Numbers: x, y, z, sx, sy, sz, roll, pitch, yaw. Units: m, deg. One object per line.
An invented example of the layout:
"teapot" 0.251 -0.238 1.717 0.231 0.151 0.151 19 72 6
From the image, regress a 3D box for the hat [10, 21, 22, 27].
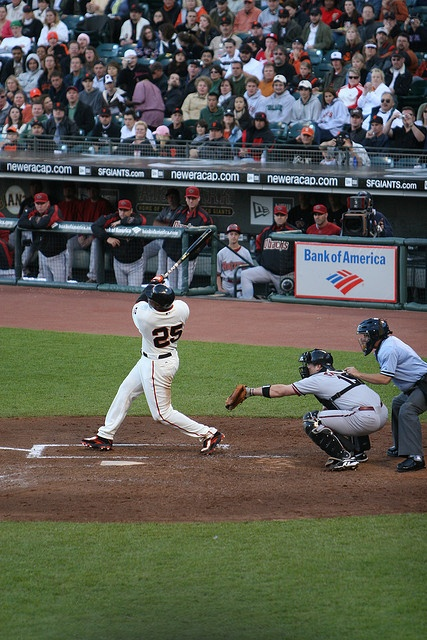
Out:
"hat" -4.036 -6.084 21.139 0.198 0.137 0.242 -4 10 -14

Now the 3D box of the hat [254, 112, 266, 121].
"hat" 0.733 -3.133 15.850 0.174 0.129 0.248 -1 10 2

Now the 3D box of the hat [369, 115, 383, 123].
"hat" 2.396 -2.908 14.871 0.159 0.078 0.109 28 -11 -39

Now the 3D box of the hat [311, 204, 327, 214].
"hat" 1.512 -1.550 14.521 0.175 0.119 0.144 -1 10 2

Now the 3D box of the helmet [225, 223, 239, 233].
"helmet" 0.318 -1.382 15.194 0.172 0.120 0.225 3 -3 1

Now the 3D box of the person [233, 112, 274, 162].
"person" 0.662 -2.833 15.914 0.572 0.732 0.897 -1 10 3

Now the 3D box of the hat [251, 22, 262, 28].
"hat" 0.803 -5.323 18.552 0.243 0.124 0.322 1 23 2

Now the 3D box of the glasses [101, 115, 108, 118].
"glasses" -1.817 -3.425 17.301 0.104 0.041 0.096 -3 10 -7

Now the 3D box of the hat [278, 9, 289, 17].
"hat" 1.236 -5.325 17.856 0.175 0.145 0.263 -1 10 4

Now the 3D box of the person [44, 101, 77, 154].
"person" -2.656 -3.302 17.682 0.654 0.900 0.581 -5 -7 9

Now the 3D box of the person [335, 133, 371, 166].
"person" 2.042 -2.489 15.059 0.490 0.494 0.725 0 10 6

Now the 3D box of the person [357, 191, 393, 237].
"person" 2.311 -1.454 14.183 0.303 0.644 1.303 0 10 10

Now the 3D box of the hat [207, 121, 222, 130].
"hat" 0.043 -3.143 16.647 0.156 0.132 0.230 1 0 21

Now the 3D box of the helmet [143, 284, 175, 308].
"helmet" -0.404 -0.174 7.734 0.232 0.185 0.253 0 10 8

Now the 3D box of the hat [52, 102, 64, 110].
"hat" -2.625 -3.657 17.582 0.236 0.106 0.327 1 6 2

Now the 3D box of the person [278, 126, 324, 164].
"person" 1.401 -2.675 15.585 0.617 0.793 0.634 3 15 17

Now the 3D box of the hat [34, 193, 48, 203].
"hat" -2.673 -1.896 16.079 0.197 0.154 0.328 -3 10 -12

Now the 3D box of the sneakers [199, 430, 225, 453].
"sneakers" -0.010 0.967 8.115 0.146 0.253 0.093 25 32 -18

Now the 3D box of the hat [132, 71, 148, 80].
"hat" -1.276 -4.316 18.199 0.228 0.124 0.169 -15 14 -13

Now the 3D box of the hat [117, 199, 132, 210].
"hat" -1.326 -1.749 15.630 0.158 0.112 0.217 4 -3 5

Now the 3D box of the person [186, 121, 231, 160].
"person" 0.013 -2.831 16.292 0.570 0.578 0.807 -7 11 -29

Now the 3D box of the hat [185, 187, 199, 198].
"hat" -0.293 -1.893 15.292 0.149 0.114 0.209 6 6 8

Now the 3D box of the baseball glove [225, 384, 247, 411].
"baseball glove" 0.188 0.611 7.769 0.088 0.220 0.129 30 22 -32

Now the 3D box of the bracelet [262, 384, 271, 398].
"bracelet" 0.399 0.533 7.584 0.080 0.076 0.029 0 -3 25

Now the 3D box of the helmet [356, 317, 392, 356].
"helmet" 1.201 0.137 7.631 0.229 0.296 0.259 0 10 8

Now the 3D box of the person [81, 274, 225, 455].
"person" -0.460 0.368 8.020 0.919 1.425 0.486 4 12 30

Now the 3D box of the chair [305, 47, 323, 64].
"chair" 1.798 -4.599 17.918 0.292 0.350 0.286 2 24 12

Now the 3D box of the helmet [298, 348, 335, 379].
"helmet" 0.768 0.333 7.750 0.247 0.200 0.214 6 4 16

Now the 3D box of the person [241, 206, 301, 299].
"person" 0.866 -0.969 15.087 0.532 1.393 1.063 -9 12 -34

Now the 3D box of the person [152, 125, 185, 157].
"person" -0.726 -2.928 16.878 0.441 0.507 0.897 -3 10 -7

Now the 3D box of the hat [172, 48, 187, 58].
"hat" -0.580 -4.743 18.311 0.201 0.167 0.426 -2 10 -1

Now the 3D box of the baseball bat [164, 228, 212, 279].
"baseball bat" -0.384 -0.971 14.874 1.341 0.142 0.144 -47 26 -22

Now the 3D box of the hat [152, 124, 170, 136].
"hat" -0.871 -3.168 17.172 0.229 0.114 0.168 20 19 39

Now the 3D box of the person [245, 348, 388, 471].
"person" 0.948 0.654 7.830 1.061 0.869 0.793 0 1 30

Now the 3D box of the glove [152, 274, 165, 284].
"glove" -0.416 -0.316 7.843 0.047 0.049 0.120 1 1 15

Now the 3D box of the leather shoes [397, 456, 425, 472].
"leather shoes" 1.448 1.057 7.516 0.215 0.083 0.094 -2 8 -24

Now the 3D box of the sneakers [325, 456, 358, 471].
"sneakers" 0.957 1.066 7.602 0.178 0.084 0.103 2 -4 -4

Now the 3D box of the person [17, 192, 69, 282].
"person" -2.629 -1.266 16.153 0.795 1.419 0.534 -1 10 6

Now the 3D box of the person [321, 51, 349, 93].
"person" 1.963 -3.982 16.646 0.482 0.681 0.469 11 20 25

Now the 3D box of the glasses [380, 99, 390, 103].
"glasses" 2.524 -3.227 15.051 0.142 0.092 0.072 4 11 28

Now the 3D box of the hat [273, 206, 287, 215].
"hat" 1.011 -1.603 14.892 0.205 0.137 0.321 4 2 7

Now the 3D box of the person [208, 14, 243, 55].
"person" 0.215 -5.045 18.649 0.684 0.851 0.605 8 16 26

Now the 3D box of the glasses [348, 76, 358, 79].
"glasses" 2.185 -3.776 16.004 0.169 0.071 0.097 3 11 25

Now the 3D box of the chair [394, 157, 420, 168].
"chair" 2.768 -2.245 14.612 0.217 0.146 0.209 1 2 42

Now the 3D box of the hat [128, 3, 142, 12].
"hat" -1.541 -6.187 20.352 0.232 0.174 0.346 1 2 1
